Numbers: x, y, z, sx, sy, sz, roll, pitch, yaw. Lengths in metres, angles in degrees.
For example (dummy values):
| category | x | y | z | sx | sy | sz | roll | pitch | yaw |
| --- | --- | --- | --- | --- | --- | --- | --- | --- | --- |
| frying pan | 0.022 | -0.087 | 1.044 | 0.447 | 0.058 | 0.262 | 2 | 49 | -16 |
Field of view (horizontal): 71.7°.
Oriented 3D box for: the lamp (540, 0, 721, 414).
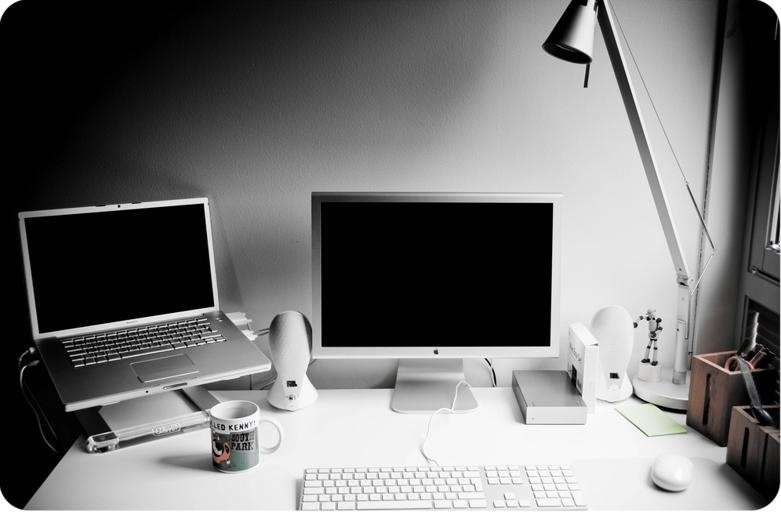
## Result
| category | x | y | z | sx | sy | sz | roll | pitch | yaw |
| --- | --- | --- | --- | --- | --- | --- | --- | --- | --- |
| lamp | 0.704 | -0.141 | 1.572 | 0.557 | 1.193 | 0.366 | 0 | 11 | 8 |

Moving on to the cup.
| category | x | y | z | sx | sy | sz | roll | pitch | yaw |
| --- | --- | --- | --- | --- | --- | --- | --- | --- | --- |
| cup | -0.371 | 0.452 | 1.377 | 0.174 | 0.159 | 0.092 | -6 | 12 | -22 |

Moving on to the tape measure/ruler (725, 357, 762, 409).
| category | x | y | z | sx | sy | sz | roll | pitch | yaw |
| --- | --- | --- | --- | --- | --- | --- | --- | --- | --- |
| tape measure/ruler | 0.904 | 0.325 | 1.409 | 0.030 | 0.081 | 0.122 | -34 | 22 | 34 |

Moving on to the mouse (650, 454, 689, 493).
| category | x | y | z | sx | sy | sz | roll | pitch | yaw |
| --- | --- | --- | --- | --- | --- | --- | --- | --- | --- |
| mouse | 0.687 | 0.529 | 1.311 | 0.096 | 0.068 | 0.065 | 1 | 11 | 14 |
